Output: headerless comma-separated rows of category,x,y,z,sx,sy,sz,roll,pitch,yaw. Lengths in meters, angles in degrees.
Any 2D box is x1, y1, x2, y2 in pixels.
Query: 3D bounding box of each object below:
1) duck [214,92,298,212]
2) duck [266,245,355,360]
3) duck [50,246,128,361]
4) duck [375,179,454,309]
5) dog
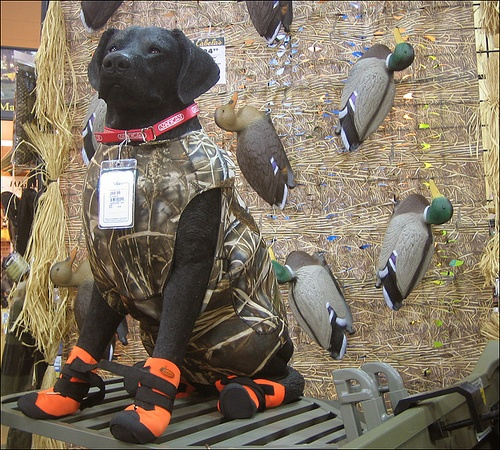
duck,0.003,-0.248,1.995,0.302,0.468,0.208,-22,-6,-15
duck,0.217,0.276,1.762,0.129,0.286,0.366,-31,-31,23
duck,-0.570,0.220,1.927,0.376,0.374,0.239,-4,16,-41
duck,0.597,0.072,1.900,0.192,0.304,0.432,6,41,42
dog,-0.182,0.000,1.282,0.617,0.907,0.357,4,-5,-42
